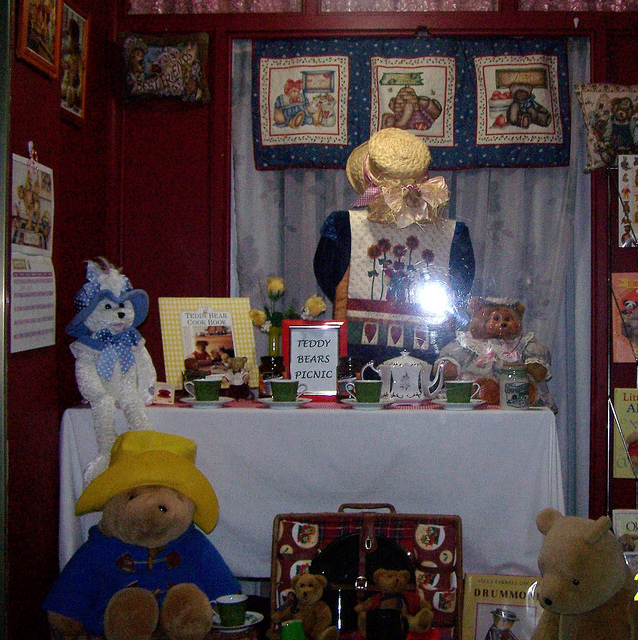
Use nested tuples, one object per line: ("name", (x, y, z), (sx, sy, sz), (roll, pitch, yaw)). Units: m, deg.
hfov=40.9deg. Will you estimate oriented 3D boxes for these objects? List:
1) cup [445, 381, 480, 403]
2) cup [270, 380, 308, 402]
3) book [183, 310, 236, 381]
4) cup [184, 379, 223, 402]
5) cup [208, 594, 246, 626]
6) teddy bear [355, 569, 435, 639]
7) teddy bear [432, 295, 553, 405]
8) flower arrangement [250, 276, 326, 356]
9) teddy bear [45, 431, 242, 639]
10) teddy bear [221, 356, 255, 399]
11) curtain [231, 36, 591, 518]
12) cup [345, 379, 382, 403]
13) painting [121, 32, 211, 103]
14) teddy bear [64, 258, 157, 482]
("cup", (0.444, 0.216, 2.624), (0.074, 0.066, 0.073), (3, -3, 0))
("cup", (-0.094, 0.211, 2.675), (0.085, 0.080, 0.190), (2, 8, 11))
("book", (-0.372, 0.087, 2.873), (0.194, 0.343, 0.026), (0, 44, -9))
("cup", (-0.369, 0.214, 2.676), (0.087, 0.071, 0.070), (-1, -3, 5))
("cup", (-0.254, 0.800, 2.387), (0.102, 0.085, 0.137), (0, 7, -7))
("teddy bear", (0.215, 0.762, 2.505), (0.237, 0.297, 0.153), (2, -10, -19))
("teddy bear", (0.614, 0.109, 2.924), (0.309, 0.401, 0.230), (0, -2, 22))
("flower arrangement", (-0.128, -0.015, 2.981), (0.248, 0.238, 0.351), (-3, 8, -26))
("teddy bear", (-0.440, 0.555, 2.548), (0.590, 0.769, 0.462), (3, -20, -11))
("teddy bear", (-0.267, 0.192, 2.817), (0.110, 0.142, 0.054), (-2, 6, -19))
("curtain", (0.397, -0.187, 3.110), (1.496, 2.629, 0.158), (0, -1, -1))
("cup", (0.142, 0.214, 2.654), (0.106, 0.083, 0.181), (0, 8, -4))
("painting", (-0.632, -1.050, 3.534), (0.358, 0.272, 0.072), (1, 6, 3))
("teddy bear", (-0.655, 0.131, 2.710), (0.221, 0.713, 0.348), (-3, -28, -28))
